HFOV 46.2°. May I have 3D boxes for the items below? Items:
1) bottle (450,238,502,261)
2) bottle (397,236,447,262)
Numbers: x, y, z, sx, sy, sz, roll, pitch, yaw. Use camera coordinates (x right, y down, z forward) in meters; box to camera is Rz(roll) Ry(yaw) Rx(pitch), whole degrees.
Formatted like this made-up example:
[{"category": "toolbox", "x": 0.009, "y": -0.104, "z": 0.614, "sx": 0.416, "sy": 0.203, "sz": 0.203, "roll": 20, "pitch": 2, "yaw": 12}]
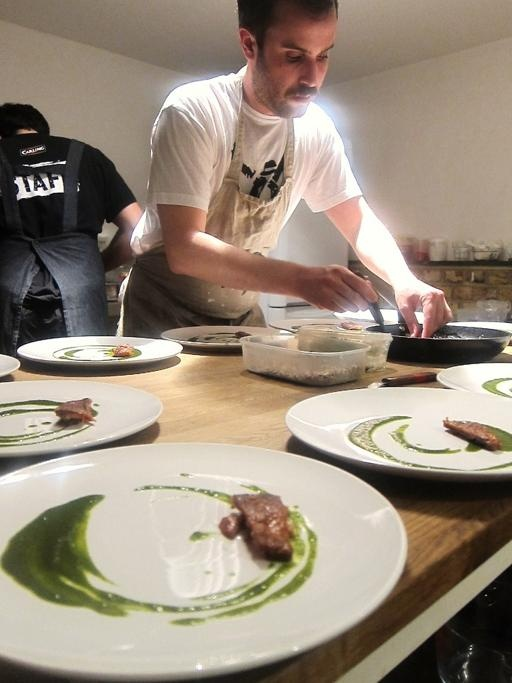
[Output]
[{"category": "bottle", "x": 1.570, "y": -0.636, "z": 4.244, "sx": 0.144, "sy": 0.141, "sz": 0.404, "roll": -8, "pitch": 12, "yaw": -35}, {"category": "bottle", "x": 1.296, "y": -0.713, "z": 4.628, "sx": 0.216, "sy": 0.124, "sz": 0.308, "roll": -7, "pitch": 15, "yaw": -18}]
